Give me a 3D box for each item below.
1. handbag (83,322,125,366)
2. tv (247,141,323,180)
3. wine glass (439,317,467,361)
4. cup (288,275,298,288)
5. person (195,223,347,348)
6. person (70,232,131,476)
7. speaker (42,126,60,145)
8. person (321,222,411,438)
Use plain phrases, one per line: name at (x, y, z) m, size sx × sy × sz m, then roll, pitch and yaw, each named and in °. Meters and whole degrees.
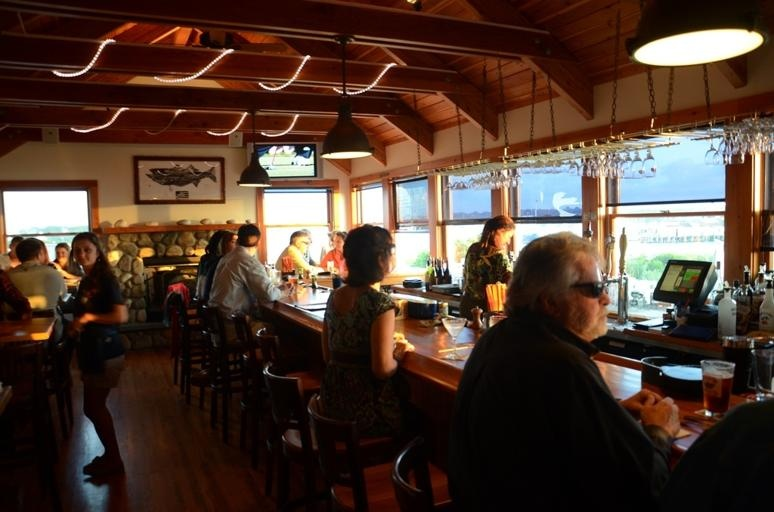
handbag at (-2.171, 0.674, 4.492) m, size 0.304 × 0.309 × 0.297 m, roll 2°, pitch 4°, yaw 4°
tv at (-1.708, -1.571, 9.386) m, size 1.070 × 0.604 × 0.140 m, roll 1°, pitch -1°, yaw -17°
wine glass at (0.431, 0.509, 3.629) m, size 0.235 × 0.273 × 0.222 m, roll 0°, pitch 4°, yaw -3°
cup at (-1.100, 0.292, 6.717) m, size 0.131 × 0.127 × 0.238 m, roll 2°, pitch 0°, yaw -11°
person at (-1.359, 0.083, 5.945) m, size 1.085 × 1.695 × 0.837 m, roll -18°, pitch 26°, yaw -35°
person at (-2.243, 0.782, 4.495) m, size 0.420 × 1.918 × 0.314 m, roll -5°, pitch 8°, yaw -23°
speaker at (-5.024, -1.800, 8.677) m, size 0.271 × 0.252 × 0.192 m, roll 0°, pitch 6°, yaw -5°
person at (-0.168, 0.424, 3.339) m, size 0.463 × 1.162 × 0.362 m, roll -3°, pitch 8°, yaw -8°
